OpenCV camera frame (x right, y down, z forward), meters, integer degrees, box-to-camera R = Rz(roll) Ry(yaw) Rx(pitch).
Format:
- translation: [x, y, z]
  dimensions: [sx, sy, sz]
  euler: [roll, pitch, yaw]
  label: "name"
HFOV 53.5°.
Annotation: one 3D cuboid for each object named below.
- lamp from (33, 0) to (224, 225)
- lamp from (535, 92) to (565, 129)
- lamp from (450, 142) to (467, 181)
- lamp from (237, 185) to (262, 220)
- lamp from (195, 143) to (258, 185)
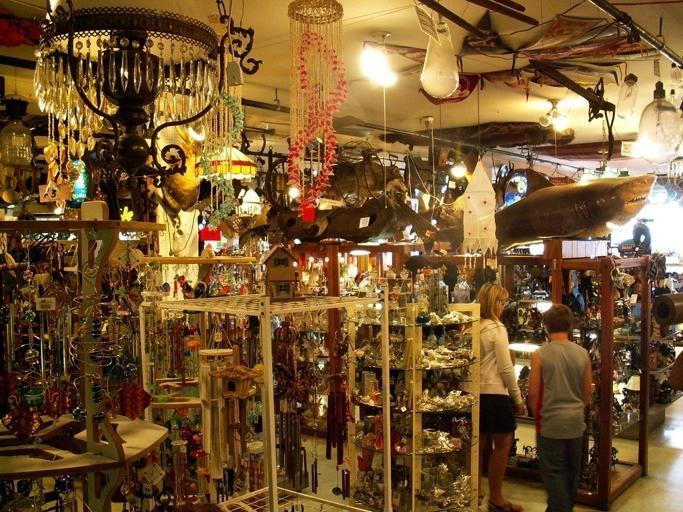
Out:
- translation: [-1.084, -0.690, 3.660]
  dimensions: [0.876, 0.868, 0.932]
  euler: [0, -4, -6]
  label: "lamp"
- translation: [2.384, -1.639, 7.710]
  dimensions: [0.283, 0.304, 0.305]
  euler: [1, 4, 17]
  label: "lamp"
- translation: [1.462, -1.197, 8.448]
  dimensions: [0.221, 0.574, 0.931]
  euler: [-1, -5, 9]
  label: "lamp"
- translation: [-0.945, -0.549, 6.986]
  dimensions: [0.242, 0.287, 0.250]
  euler: [0, -2, -5]
  label: "lamp"
- translation: [-0.795, -0.618, 4.575]
  dimensions: [0.330, 0.184, 0.352]
  euler: [0, 2, -6]
  label: "lamp"
